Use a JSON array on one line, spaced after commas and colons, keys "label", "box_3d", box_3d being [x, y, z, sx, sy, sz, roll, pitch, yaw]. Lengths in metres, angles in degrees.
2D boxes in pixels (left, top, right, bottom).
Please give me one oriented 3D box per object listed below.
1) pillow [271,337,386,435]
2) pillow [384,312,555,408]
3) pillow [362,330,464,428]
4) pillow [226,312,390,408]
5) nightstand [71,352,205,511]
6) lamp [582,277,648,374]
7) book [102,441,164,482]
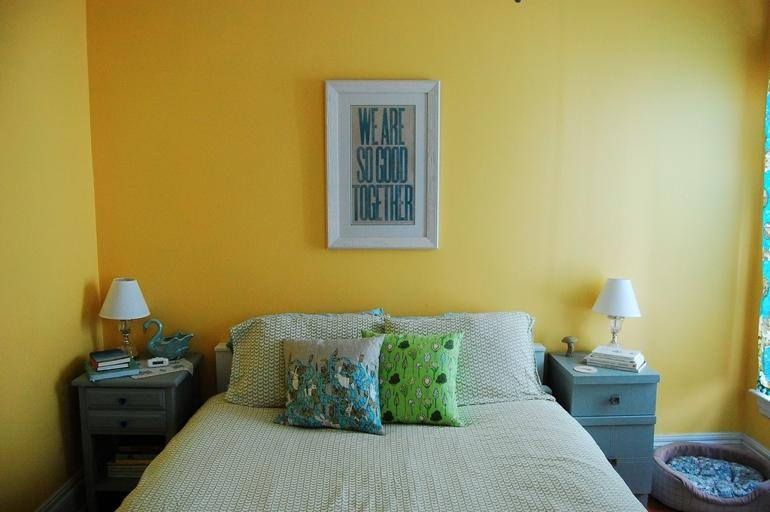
[{"label": "pillow", "box_3d": [-0.317, 0.817, 3.907, 0.500, 0.487, 0.194, -1, -19, 6]}, {"label": "pillow", "box_3d": [0.534, 0.775, 4.388, 1.040, 0.629, 0.399, -9, -13, 5]}, {"label": "pillow", "box_3d": [0.163, 0.788, 3.953, 0.505, 0.476, 0.183, 0, -16, 8]}, {"label": "pillow", "box_3d": [-0.763, 0.637, 4.462, 0.690, 0.750, 0.222, 1, -2, -11]}, {"label": "nightstand", "box_3d": [-1.668, 1.228, 4.644, 0.863, 1.387, 0.933, -1, 0, -3]}, {"label": "lamp", "box_3d": [1.584, 0.471, 4.623, 0.554, 0.850, 0.554, 0, 3, 19]}, {"label": "book", "box_3d": [-1.642, 1.357, 4.146, 0.309, 0.112, 0.326, 1, -4, -9]}]
